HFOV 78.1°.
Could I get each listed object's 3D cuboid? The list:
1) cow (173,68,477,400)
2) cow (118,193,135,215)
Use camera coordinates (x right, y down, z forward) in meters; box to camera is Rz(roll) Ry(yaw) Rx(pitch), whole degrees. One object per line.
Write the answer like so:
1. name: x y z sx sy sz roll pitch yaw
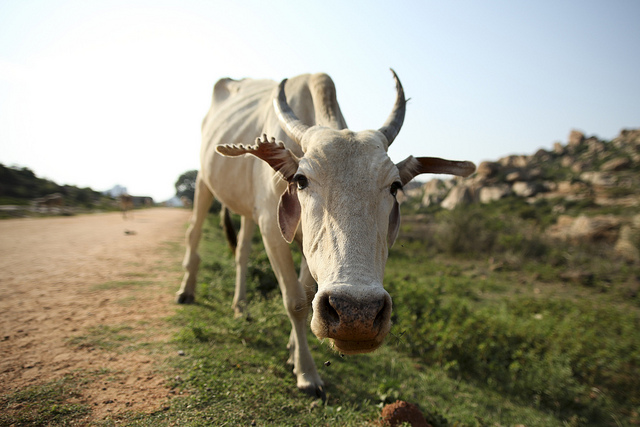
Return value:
1. cow: -0.214 -0.334 7.150 3.066 4.526 6.523 2 5 -22
2. cow: -2.901 -0.148 5.854 0.219 0.292 0.105 1 1 -30
